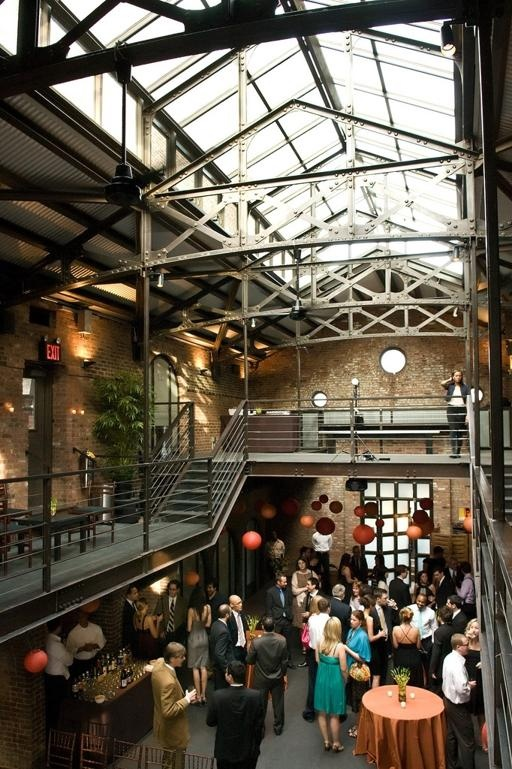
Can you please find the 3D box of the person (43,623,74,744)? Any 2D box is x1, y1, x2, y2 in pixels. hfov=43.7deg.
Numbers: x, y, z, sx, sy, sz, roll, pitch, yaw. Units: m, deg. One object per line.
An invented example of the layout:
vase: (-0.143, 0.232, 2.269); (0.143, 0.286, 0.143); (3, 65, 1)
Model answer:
person: (-2.103, 3.111, 6.739); (0.264, 1.275, 0.651); (4, -8, -16)

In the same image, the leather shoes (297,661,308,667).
leather shoes: (0.680, 4.090, 9.340); (0.175, 0.128, 0.065); (0, -16, 3)

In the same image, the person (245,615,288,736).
person: (0.127, 3.068, 6.780); (0.441, 1.324, 0.419); (0, 11, 1)

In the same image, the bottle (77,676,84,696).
bottle: (-1.907, 3.276, 6.874); (0.088, 0.145, 0.255); (3, -8, -14)

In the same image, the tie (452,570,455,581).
tie: (3.077, 2.968, 9.934); (0.048, 0.166, 0.036); (1, -29, 0)

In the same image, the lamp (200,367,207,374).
lamp: (-1.214, -0.301, 14.797); (0.114, 0.087, 0.120); (2, 0, 10)

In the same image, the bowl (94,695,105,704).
bowl: (-1.600, 3.229, 6.547); (0.067, 0.046, 0.065); (-2, 1, 0)

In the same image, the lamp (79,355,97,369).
lamp: (-2.538, -0.313, 9.702); (0.103, 0.201, 0.363); (0, -8, 11)

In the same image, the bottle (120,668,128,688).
bottle: (-1.450, 3.235, 7.034); (0.064, 0.164, 0.136); (1, -8, 5)

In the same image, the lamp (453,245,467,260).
lamp: (2.761, -1.800, 8.634); (0.169, 0.149, 0.287); (-4, 19, 3)

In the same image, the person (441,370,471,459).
person: (2.993, 0.418, 9.594); (0.372, 1.377, 2.125); (-1, -8, 17)

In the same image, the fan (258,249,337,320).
fan: (0.751, -1.949, 12.330); (1.846, 1.937, 0.459); (-3, -28, 12)

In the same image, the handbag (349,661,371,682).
handbag: (1.127, 3.194, 6.978); (0.265, 0.173, 0.361); (-1, -9, 4)

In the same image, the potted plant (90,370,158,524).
potted plant: (-1.937, 0.835, 9.437); (0.849, 2.000, 0.729); (-5, -6, -33)
